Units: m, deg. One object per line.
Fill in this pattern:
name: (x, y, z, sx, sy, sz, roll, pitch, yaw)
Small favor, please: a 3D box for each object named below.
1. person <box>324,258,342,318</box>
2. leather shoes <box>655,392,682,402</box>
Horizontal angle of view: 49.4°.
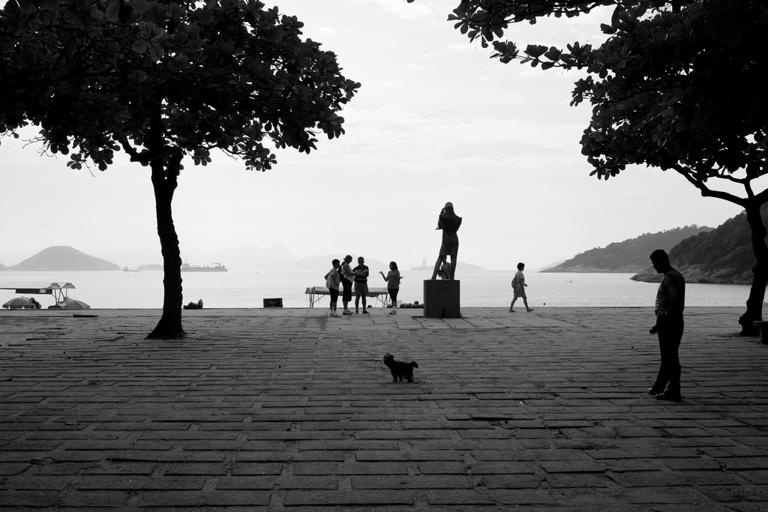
person: (-1.303, 0.832, 21.865, 0.360, 1.554, 0.813, -1, 9, -4)
leather shoes: (4.088, 2.006, 12.001, 0.363, 0.113, 0.194, 3, 9, 21)
